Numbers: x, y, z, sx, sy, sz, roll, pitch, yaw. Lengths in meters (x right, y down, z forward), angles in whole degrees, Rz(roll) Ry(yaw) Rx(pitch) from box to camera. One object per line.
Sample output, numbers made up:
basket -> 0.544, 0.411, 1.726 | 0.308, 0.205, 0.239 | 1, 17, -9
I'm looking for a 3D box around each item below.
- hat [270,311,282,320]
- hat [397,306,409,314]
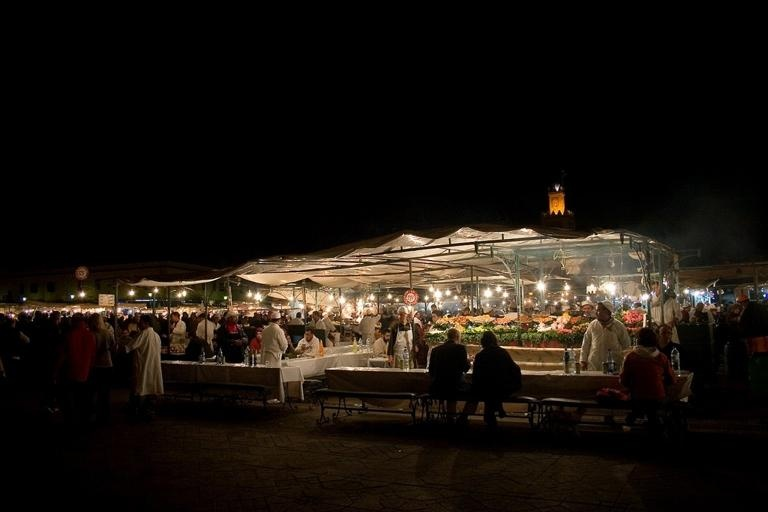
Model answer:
hat -> -2.824, 1.531, 15.374 | 0.364, 0.212, 0.355 | 0, -1, 8
hat -> 0.417, 1.228, 14.157 | 0.277, 0.118, 0.309 | -1, -8, 7
